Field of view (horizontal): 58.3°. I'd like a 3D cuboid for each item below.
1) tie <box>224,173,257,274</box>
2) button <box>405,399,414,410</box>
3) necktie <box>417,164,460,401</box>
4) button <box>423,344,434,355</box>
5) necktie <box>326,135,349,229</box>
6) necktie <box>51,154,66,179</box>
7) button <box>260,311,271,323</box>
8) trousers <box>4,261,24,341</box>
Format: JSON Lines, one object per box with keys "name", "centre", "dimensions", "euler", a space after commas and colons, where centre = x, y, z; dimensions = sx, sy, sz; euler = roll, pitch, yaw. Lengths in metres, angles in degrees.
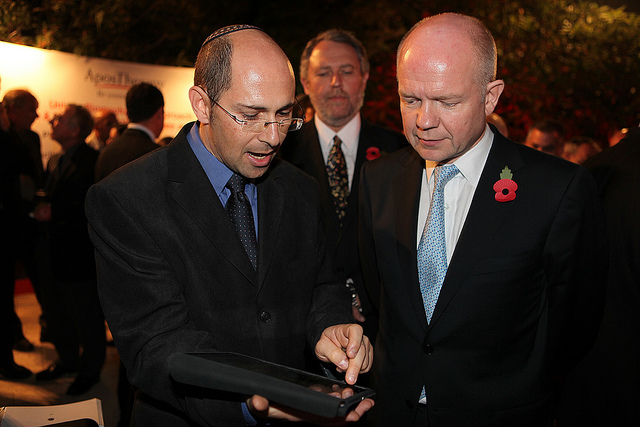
{"name": "tie", "centre": [-0.408, 0.057, 2.939], "dimensions": [0.169, 0.488, 0.188], "euler": [-4, 19, -25]}
{"name": "button", "centre": [0.456, 0.984, 2.963], "dimensions": [0.010, 0.029, 0.040], "euler": [9, 35, -51]}
{"name": "necktie", "centre": [0.599, 0.297, 3.042], "dimensions": [0.175, 1.330, 0.183], "euler": [5, -11, 3]}
{"name": "button", "centre": [0.552, 0.692, 2.937], "dimensions": [0.052, 0.053, 0.014], "euler": [-1, 8, 0]}
{"name": "necktie", "centre": [0.130, -0.236, 4.209], "dimensions": [0.112, 0.700, 0.110], "euler": [-1, -21, -3]}
{"name": "necktie", "centre": [-2.284, -0.419, 5.005], "dimensions": [0.112, 0.186, 0.035], "euler": [-4, 14, -33]}
{"name": "button", "centre": [-0.274, 0.511, 2.837], "dimensions": [0.053, 0.053, 0.022], "euler": [-2, 13, -26]}
{"name": "trousers", "centre": [-2.680, 0.752, 5.018], "dimensions": [0.096, 0.724, 0.242], "euler": [2, 12, -9]}
